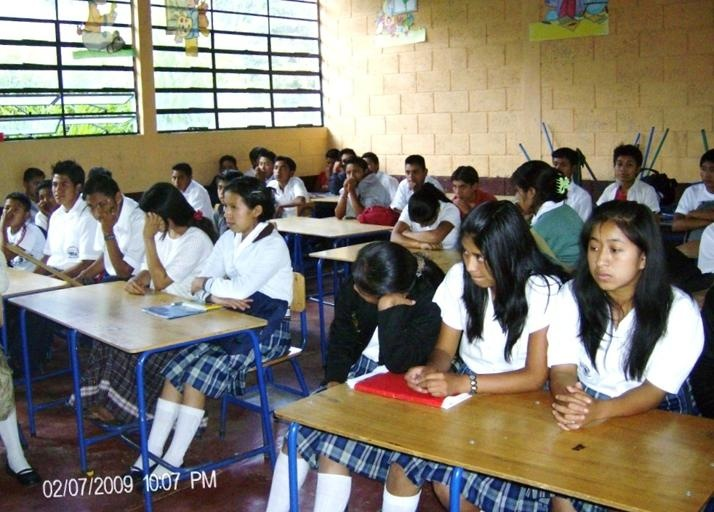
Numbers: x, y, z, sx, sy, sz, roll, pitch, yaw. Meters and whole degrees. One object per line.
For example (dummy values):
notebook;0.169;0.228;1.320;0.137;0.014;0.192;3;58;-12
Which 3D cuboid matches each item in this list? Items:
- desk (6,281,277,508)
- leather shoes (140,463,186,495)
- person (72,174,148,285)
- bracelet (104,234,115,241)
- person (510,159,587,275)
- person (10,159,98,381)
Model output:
desk;-1.014;0.418;2.899;1.675;1.075;0.904;8;12;44
leather shoes;-0.835;1.008;2.595;0.228;0.147;0.111;1;7;-2
person;-1.594;-0.188;3.762;0.585;0.729;0.534;-1;21;-11
bracelet;-1.549;-0.126;3.579;0.047;0.021;0.048;0;32;-3
person;1.229;-0.104;3.638;0.514;0.990;0.460;-5;30;14
person;-2.182;0.063;4.100;0.385;0.971;0.531;-14;-14;33
